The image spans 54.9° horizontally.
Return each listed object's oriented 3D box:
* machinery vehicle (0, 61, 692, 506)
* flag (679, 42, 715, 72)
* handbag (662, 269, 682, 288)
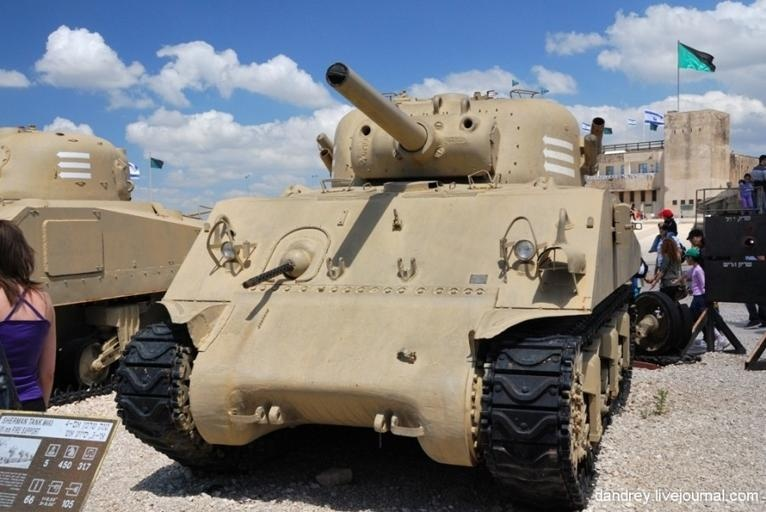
[{"bbox_3d":[0.223,0.218,10.067,6.442,5.237,4.451,0,8,4],"label":"machinery vehicle"},{"bbox_3d":[14.077,-8.901,33.051,1.402,1.303,1.512,2,9,21],"label":"flag"},{"bbox_3d":[6.272,0.591,15.870,0.293,0.465,0.456,-3,27,8],"label":"handbag"}]
